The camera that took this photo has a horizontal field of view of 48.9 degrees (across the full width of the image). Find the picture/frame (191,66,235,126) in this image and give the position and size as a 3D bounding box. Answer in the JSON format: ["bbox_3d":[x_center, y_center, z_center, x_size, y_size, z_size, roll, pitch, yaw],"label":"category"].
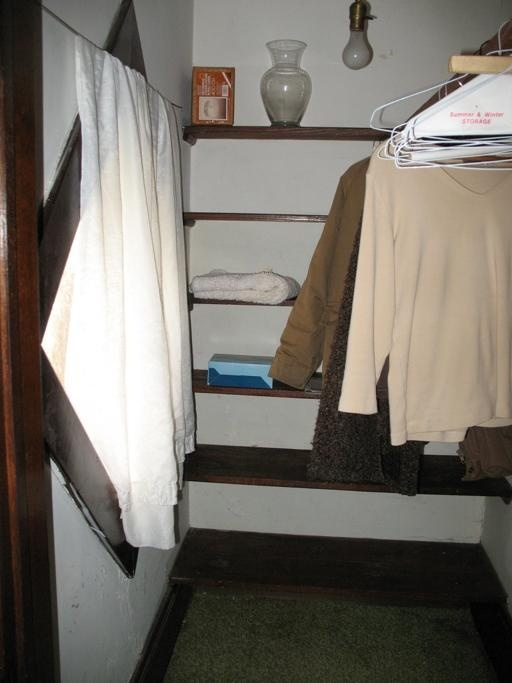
[{"bbox_3d":[-0.128,-0.726,1.675,0.176,0.229,0.017,1,0,-2],"label":"picture/frame"}]

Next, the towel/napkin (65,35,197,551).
[{"bbox_3d":[-0.241,-0.056,1.236,0.173,1.002,0.497,2,11,7],"label":"towel/napkin"}]

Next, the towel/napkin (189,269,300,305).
[{"bbox_3d":[-0.044,-0.167,1.702,0.337,0.096,0.147,3,11,7],"label":"towel/napkin"}]

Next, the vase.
[{"bbox_3d":[0.091,-0.750,1.620,0.144,0.234,0.140,10,35,11],"label":"vase"}]
